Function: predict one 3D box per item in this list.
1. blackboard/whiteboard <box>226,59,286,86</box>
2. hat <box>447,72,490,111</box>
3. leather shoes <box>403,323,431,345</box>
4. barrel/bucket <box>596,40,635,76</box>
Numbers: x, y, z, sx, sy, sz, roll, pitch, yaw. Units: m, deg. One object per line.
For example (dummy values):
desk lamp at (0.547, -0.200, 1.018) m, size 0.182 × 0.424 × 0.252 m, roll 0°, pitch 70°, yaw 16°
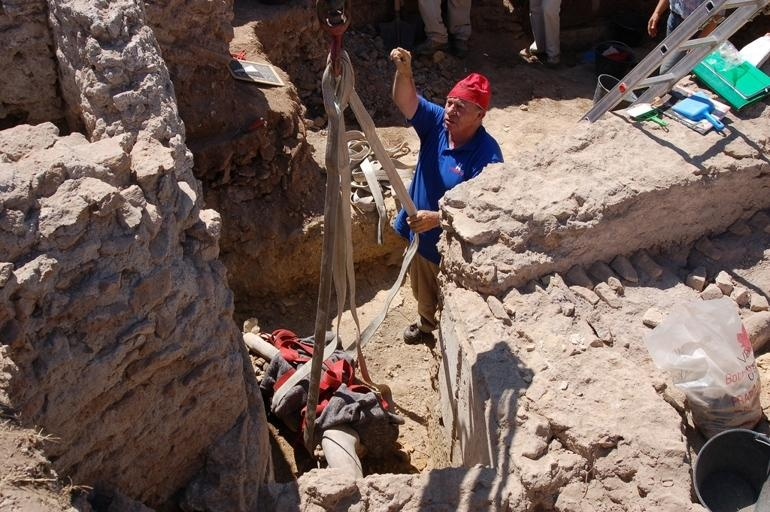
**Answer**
blackboard/whiteboard at (-1.095, -1.523, 6.913) m, size 0.480 × 0.039 × 0.481 m, roll 12°, pitch 34°, yaw -22°
hat at (0.575, -1.096, 5.599) m, size 0.211 × 0.312 × 0.241 m, roll 4°, pitch 73°, yaw -13°
leather shoes at (0.238, 0.609, 6.540) m, size 0.216 × 0.147 × 0.128 m, roll -1°, pitch 64°, yaw -3°
barrel/bucket at (2.336, -2.002, 8.564) m, size 0.385 × 0.318 × 0.429 m, roll 8°, pitch 52°, yaw 2°
